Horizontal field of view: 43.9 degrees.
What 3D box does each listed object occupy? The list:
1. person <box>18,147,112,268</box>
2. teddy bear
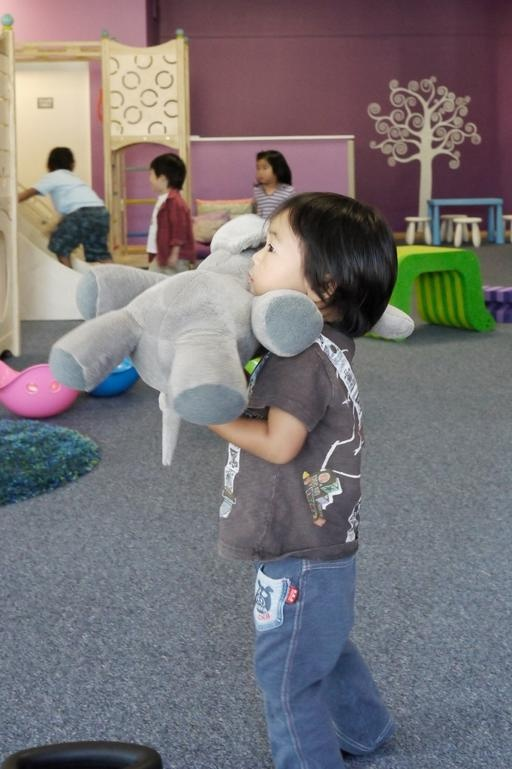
[{"bbox_3d":[-1.410,-1.230,4.652,0.831,0.968,0.629,2,11,-13],"label":"person"},{"bbox_3d":[-0.038,-0.046,0.554,0.192,0.119,0.287,-2,12,11],"label":"teddy bear"}]
